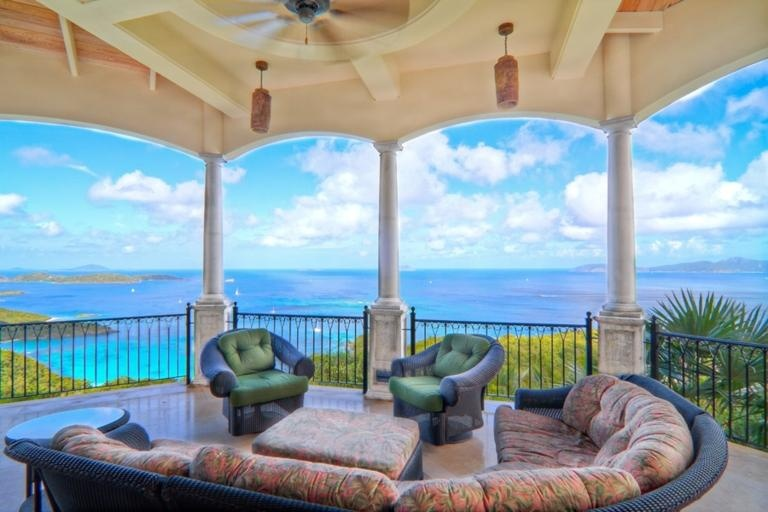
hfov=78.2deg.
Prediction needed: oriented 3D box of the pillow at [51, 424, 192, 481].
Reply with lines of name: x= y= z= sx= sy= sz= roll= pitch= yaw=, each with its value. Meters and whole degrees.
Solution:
pillow: x=-1.909 y=1.349 z=3.483 sx=0.723 sy=0.239 sz=0.429 roll=22 pitch=-23 yaw=-9

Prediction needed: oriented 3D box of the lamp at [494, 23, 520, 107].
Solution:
lamp: x=1.389 y=-2.153 z=5.382 sx=0.226 sy=1.125 sz=0.648 roll=-1 pitch=-5 yaw=13

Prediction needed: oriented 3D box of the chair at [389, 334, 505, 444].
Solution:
chair: x=0.714 y=1.489 z=5.580 sx=1.265 sy=1.145 sz=1.275 roll=5 pitch=-9 yaw=-29

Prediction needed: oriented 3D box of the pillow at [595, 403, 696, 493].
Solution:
pillow: x=1.966 y=1.391 z=3.545 sx=0.630 sy=0.477 sz=0.745 roll=-1 pitch=-5 yaw=11
